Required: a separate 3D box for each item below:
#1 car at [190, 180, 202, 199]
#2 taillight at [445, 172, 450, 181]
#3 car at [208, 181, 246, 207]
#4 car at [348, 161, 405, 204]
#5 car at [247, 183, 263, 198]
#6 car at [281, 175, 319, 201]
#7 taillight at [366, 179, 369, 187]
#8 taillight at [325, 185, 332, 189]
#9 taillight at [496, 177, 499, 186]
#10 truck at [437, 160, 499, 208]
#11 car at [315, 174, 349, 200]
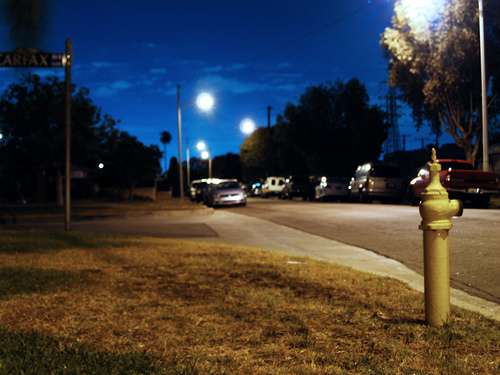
[{"bbox_3d":[-4.064,0.255,44.428,0.897,1.094,1.726,1,3,-4],"label":"car"},{"bbox_3d":[6.866,-0.338,20.628,0.048,0.215,0.193,4,8,-36],"label":"taillight"},{"bbox_3d":[-1.176,0.363,30.761,1.833,1.344,2.865,0,-1,-2],"label":"car"},{"bbox_3d":[6.187,-0.135,29.164,1.761,1.945,2.717,0,0,-10],"label":"car"},{"bbox_3d":[0.661,0.405,60.917,1.104,1.090,2.004,0,-2,-10],"label":"car"},{"bbox_3d":[3.494,0.102,41.897,2.111,1.697,3.644,0,-1,5],"label":"car"},{"bbox_3d":[5.521,-0.196,27.956,0.031,0.301,0.236,0,0,-15],"label":"taillight"},{"bbox_3d":[4.532,0.027,34.389,0.363,0.230,0.112,-1,0,22],"label":"taillight"},{"bbox_3d":[8.771,-0.166,21.113,0.061,0.259,0.162,0,0,18],"label":"taillight"},{"bbox_3d":[7.057,-0.083,19.173,1.578,1.484,3.446,0,3,1],"label":"truck"},{"bbox_3d":[4.875,0.127,35.636,1.898,1.369,4.673,0,-1,7],"label":"car"}]
